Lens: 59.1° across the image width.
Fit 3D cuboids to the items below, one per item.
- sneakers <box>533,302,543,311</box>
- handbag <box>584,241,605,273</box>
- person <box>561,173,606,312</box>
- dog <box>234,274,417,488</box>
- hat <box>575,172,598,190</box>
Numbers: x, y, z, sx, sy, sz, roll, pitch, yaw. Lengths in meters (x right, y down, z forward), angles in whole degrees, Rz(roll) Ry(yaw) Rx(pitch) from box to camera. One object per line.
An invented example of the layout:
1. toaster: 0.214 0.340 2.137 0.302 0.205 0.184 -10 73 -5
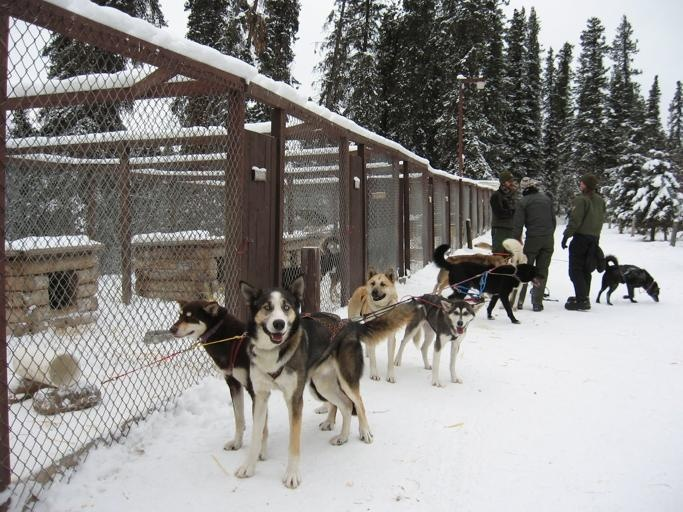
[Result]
1. sneakers: 3.187 0.832 9.815 0.068 0.176 0.221 -5 -12 9
2. handbag: 4.188 0.036 9.958 0.155 0.543 0.345 -4 -6 34
3. person: 4.017 -0.243 10.046 0.634 2.204 0.852 3 6 26
4. dog: -0.268 1.007 5.373 1.483 1.664 0.622 -4 7 -39
5. hat: 4.180 -1.231 10.205 0.221 0.278 0.319 4 -4 12
